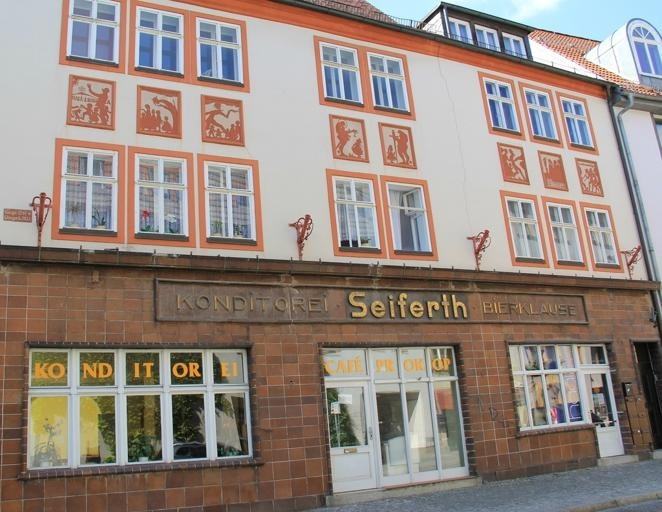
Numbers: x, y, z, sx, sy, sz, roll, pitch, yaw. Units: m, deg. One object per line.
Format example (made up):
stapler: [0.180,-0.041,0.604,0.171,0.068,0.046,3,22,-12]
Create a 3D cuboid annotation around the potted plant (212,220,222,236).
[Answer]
potted plant: [-2.815,-0.671,14.854,0.285,0.311,0.328,4,-9,-29]
